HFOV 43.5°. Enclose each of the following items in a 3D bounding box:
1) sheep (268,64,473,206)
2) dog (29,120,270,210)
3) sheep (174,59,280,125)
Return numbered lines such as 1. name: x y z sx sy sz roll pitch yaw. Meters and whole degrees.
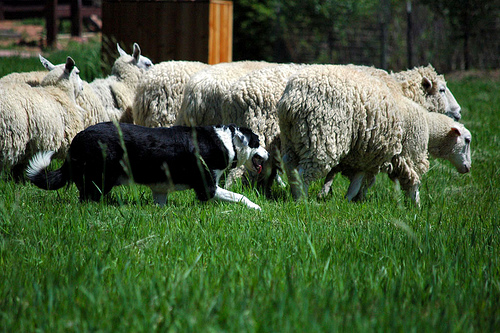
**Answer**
1. sheep: 1.538 -0.311 7.319 2.567 1.593 1.029 2 8 -20
2. dog: -1.013 -0.001 6.442 2.453 0.985 0.560 2 15 -22
3. sheep: -0.198 -0.921 7.683 1.438 1.032 0.626 -8 10 -24
